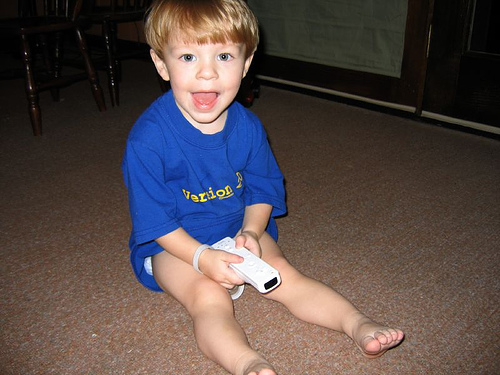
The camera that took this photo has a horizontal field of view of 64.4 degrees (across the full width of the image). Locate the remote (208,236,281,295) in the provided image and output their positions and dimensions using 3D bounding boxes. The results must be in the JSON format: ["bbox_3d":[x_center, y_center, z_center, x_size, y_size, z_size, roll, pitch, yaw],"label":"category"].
[{"bbox_3d":[-0.016,0.145,0.930,0.081,0.048,0.194,-22,48,-37],"label":"remote"}]
